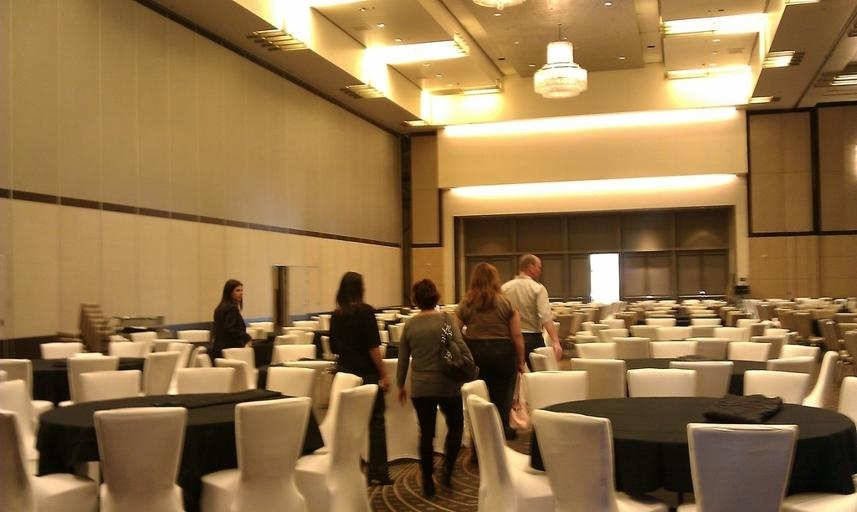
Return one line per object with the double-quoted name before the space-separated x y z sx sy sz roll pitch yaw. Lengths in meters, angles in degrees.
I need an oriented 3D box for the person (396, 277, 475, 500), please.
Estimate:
"person" 0.077 1.571 7.915 0.973 2.586 0.493 -1 -3 6
